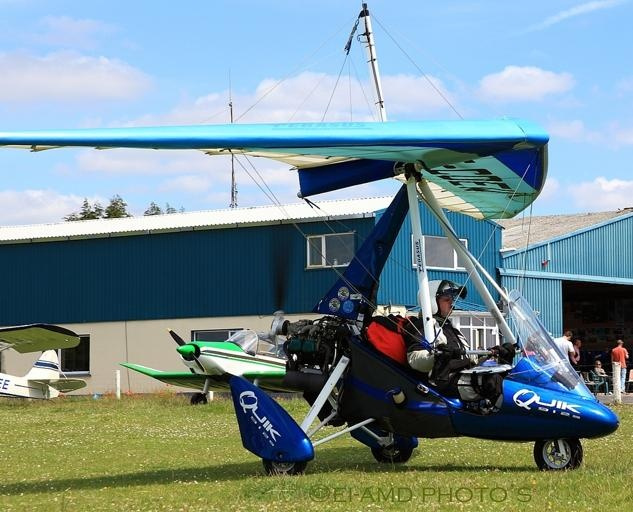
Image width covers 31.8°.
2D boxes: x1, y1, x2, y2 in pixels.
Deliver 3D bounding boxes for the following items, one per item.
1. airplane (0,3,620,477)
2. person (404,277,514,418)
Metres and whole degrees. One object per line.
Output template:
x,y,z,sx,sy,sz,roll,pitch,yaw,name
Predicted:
0.359,0.590,16.138,6.483,3.636,7.453,-1,0,21,airplane
1.946,1.292,15.849,1.432,1.849,0.921,1,2,4,person
